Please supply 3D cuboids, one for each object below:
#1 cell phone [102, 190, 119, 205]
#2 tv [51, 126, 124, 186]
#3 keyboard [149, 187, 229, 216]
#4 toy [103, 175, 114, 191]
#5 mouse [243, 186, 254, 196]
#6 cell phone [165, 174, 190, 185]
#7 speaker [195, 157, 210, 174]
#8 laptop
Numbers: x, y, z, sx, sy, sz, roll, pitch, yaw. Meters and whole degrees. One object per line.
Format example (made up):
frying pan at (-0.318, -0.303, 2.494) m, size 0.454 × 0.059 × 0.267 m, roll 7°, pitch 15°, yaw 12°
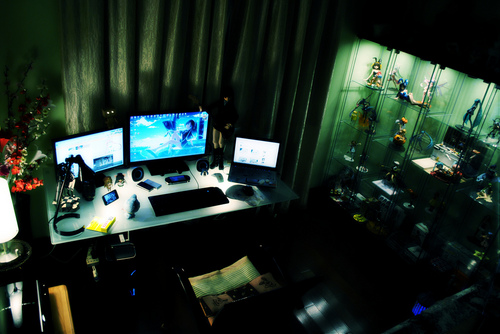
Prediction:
cell phone at (-1.335, 0.293, 3.611) m, size 0.151 × 0.070 × 0.140 m, roll -17°, pitch 27°, yaw -32°
tv at (-1.551, -0.107, 3.582) m, size 0.525 × 0.356 × 0.154 m, roll -19°, pitch 38°, yaw -33°
keyboard at (-0.601, 0.340, 3.687) m, size 0.735 × 0.050 × 0.334 m, roll -10°, pitch 33°, yaw -29°
toy at (-1.382, 0.166, 3.681) m, size 0.088 × 0.131 × 0.136 m, roll -15°, pitch 45°, yaw -33°
mouse at (-0.012, 0.238, 3.873) m, size 0.113 × 0.105 × 0.074 m, roll 7°, pitch 35°, yaw 9°
cell phone at (-0.747, 0.126, 3.889) m, size 0.221 × 0.035 × 0.104 m, roll -7°, pitch 35°, yaw -17°
speaker at (-0.501, -0.012, 4.012) m, size 0.123 × 0.056 × 0.168 m, roll -1°, pitch 70°, yaw -6°
laptop at (0.032, 0.009, 4.150) m, size 0.628 × 0.429 × 0.516 m, roll 9°, pitch 38°, yaw -8°
